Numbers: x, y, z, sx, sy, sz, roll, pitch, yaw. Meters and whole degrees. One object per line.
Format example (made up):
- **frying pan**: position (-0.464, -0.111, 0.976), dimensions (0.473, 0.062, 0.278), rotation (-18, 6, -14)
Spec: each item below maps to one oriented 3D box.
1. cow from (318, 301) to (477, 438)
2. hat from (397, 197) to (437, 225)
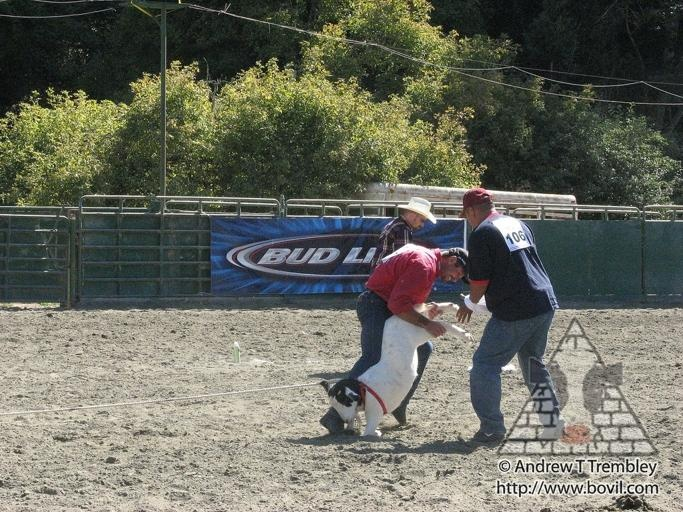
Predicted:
- **cow**: position (0.953, 2.828, 33.075), dimensions (2.312, 2.859, 0.567), rotation (-2, 3, 1)
- **hat**: position (1.906, -1.274, 34.893), dimensions (0.809, 0.298, 0.674), rotation (25, 4, -2)
